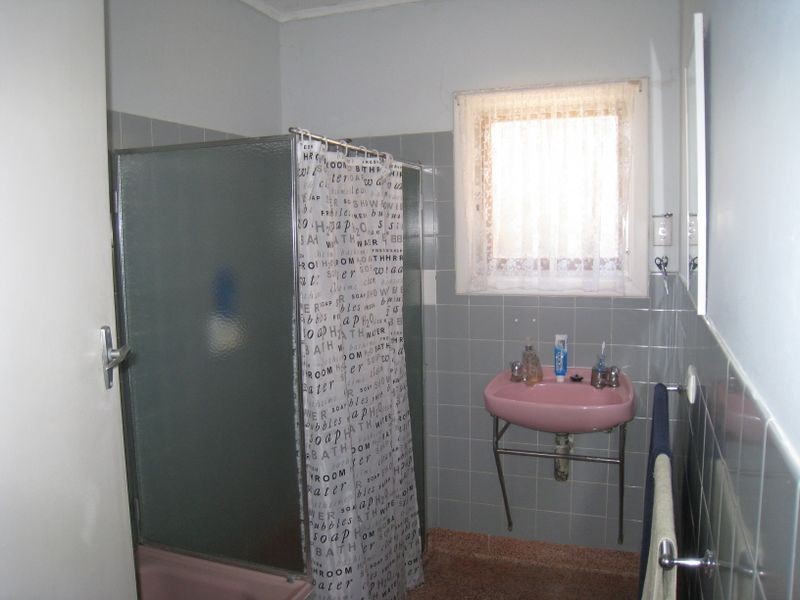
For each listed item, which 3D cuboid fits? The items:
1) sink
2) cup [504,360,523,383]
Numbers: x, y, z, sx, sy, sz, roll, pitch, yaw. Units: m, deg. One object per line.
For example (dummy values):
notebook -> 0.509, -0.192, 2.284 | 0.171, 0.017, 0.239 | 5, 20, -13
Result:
sink -> 0.762, 0.489, 3.042 | 0.675, 0.193, 0.455 | 2, 8, 21
cup -> 0.589, 0.365, 3.256 | 0.085, 0.112, 0.083 | 1, -2, 0
